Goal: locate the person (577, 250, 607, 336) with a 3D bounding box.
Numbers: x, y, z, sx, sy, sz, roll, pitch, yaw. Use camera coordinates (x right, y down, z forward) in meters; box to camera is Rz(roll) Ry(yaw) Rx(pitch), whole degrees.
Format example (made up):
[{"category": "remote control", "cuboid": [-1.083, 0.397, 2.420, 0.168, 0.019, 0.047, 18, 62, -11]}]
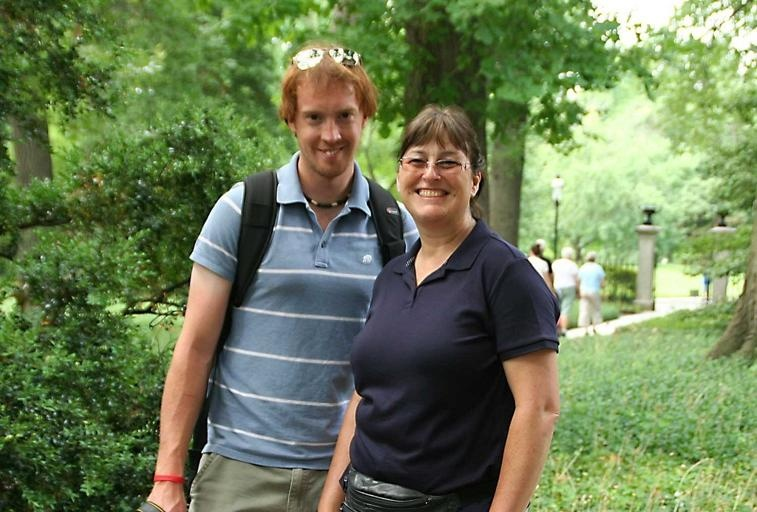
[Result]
[{"category": "person", "cuboid": [4.649, 0.745, 17.271, 0.545, 1.622, 1.477, -3, -5, 14]}]
